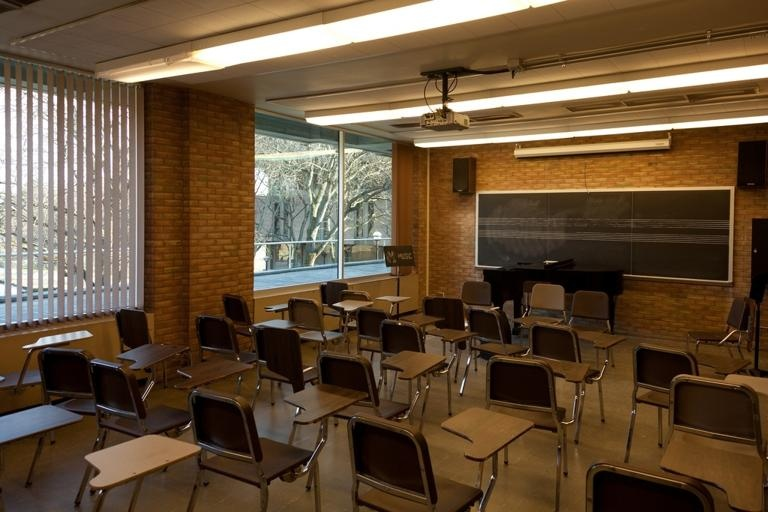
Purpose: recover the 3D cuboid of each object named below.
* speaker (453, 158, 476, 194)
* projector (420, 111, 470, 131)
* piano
[{"bbox_3d":[1.823,-1.832,11.949,0.506,0.825,0.301,0,5,-3],"label":"speaker"},{"bbox_3d":[0.758,-1.696,6.544,0.445,0.227,0.479,3,5,36],"label":"projector"},{"bbox_3d":[3.122,0.716,10.120,2.505,1.286,1.990,2,2,29],"label":"piano"}]
